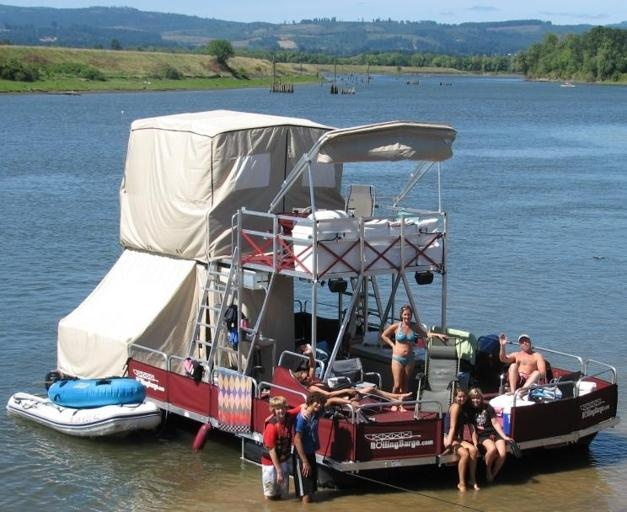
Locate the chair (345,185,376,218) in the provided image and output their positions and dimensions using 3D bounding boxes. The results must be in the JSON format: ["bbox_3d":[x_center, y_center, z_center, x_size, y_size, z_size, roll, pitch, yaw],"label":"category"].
[{"bbox_3d":[1.502,-1.831,40.325,0.938,1.185,1.175,1,23,-2],"label":"chair"}]

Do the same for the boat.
[{"bbox_3d":[-0.870,0.699,38.368,15.346,9.750,7.219,8,13,27],"label":"boat"}]

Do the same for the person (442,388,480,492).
[{"bbox_3d":[4.150,5.050,34.872,1.029,2.868,0.761,4,12,7],"label":"person"}]

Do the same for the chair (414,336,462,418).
[{"bbox_3d":[3.613,3.499,36.536,0.804,1.084,2.514,5,53,5],"label":"chair"}]

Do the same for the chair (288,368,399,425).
[{"bbox_3d":[0.991,3.959,35.530,2.449,1.423,1.317,1,1,29],"label":"chair"}]

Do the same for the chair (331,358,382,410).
[{"bbox_3d":[1.079,3.743,36.516,1.315,1.364,1.353,-2,-1,17],"label":"chair"}]
